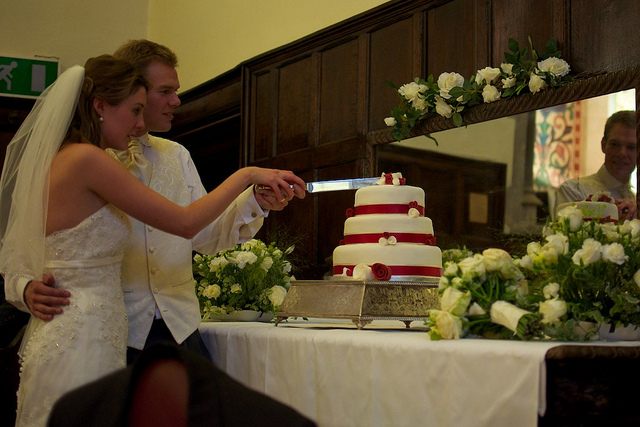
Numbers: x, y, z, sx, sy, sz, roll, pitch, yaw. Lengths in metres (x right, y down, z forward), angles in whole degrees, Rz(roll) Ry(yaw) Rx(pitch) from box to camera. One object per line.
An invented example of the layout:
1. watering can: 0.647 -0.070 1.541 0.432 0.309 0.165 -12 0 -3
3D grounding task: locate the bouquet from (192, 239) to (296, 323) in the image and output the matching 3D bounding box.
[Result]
1. bouquet: -0.503 0.339 3.753 0.535 0.598 0.572 -3 4 -41

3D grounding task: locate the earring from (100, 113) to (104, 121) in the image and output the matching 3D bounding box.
1. earring: -0.983 -0.437 2.525 0.014 0.032 0.014 3 -7 -6

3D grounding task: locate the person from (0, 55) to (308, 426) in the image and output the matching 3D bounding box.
1. person: -0.893 0.095 2.512 1.003 1.643 0.366 3 -8 -11

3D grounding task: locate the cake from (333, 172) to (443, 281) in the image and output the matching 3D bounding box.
1. cake: 0.361 0.071 3.087 0.638 0.594 0.624 6 -4 -24

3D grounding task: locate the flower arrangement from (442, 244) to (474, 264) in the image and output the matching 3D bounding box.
1. flower arrangement: 0.769 0.224 3.095 0.146 0.066 0.143 5 -8 -36

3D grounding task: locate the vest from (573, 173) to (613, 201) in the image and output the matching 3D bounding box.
1. vest: 1.527 -0.159 3.147 0.048 0.143 0.207 7 -9 -36
